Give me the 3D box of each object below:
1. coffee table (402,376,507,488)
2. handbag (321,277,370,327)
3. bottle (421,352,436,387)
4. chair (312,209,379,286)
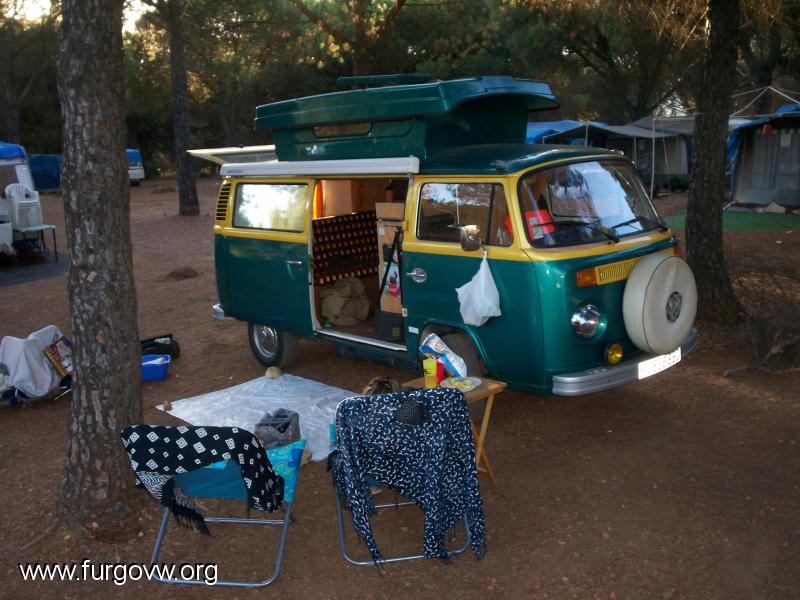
[{"bbox_3d":[0.418,1.058,5.695,0.676,1.045,0.673,-20,23,-39],"label":"coffee table"},{"bbox_3d":[-0.693,-0.019,9.245,0.616,0.600,0.537,-7,15,-27],"label":"handbag"},{"bbox_3d":[0.269,0.626,6.271,0.116,0.233,0.187,-2,14,3],"label":"bottle"},{"bbox_3d":[-0.764,-0.703,9.408,0.870,0.616,0.390,-14,21,-41],"label":"chair"}]
